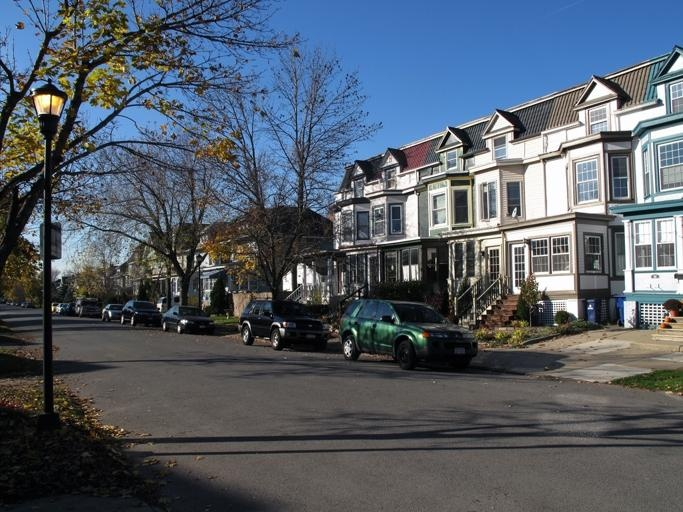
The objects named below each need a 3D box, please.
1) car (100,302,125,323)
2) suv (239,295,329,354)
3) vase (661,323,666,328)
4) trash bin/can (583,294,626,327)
[{"bbox_3d":[-17.271,4.120,48.275,1.215,0.977,2.715,1,-11,-26],"label":"car"},{"bbox_3d":[-2.317,2.575,24.455,1.613,1.400,3.356,5,-10,-28],"label":"suv"},{"bbox_3d":[10.861,2.331,21.624,0.157,0.196,0.295,1,2,25],"label":"vase"},{"bbox_3d":[11.026,2.182,26.583,2.093,1.183,1.286,-1,2,-44],"label":"trash bin/can"}]
